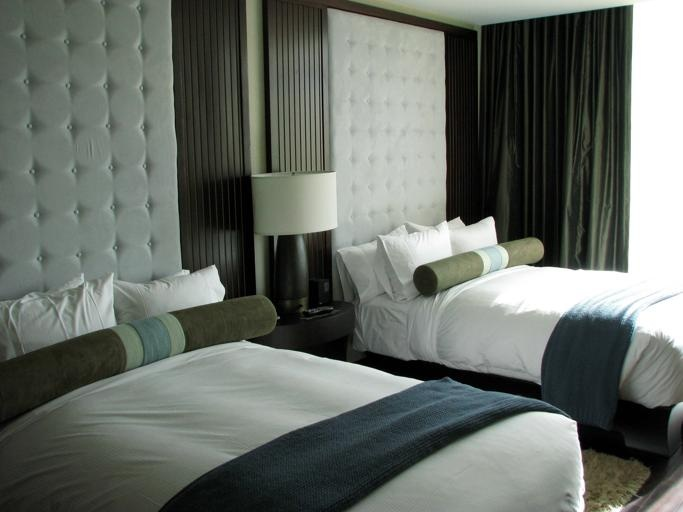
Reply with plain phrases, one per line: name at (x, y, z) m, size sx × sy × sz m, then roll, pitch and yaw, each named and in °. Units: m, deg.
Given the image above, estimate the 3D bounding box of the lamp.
lamp at (-0.355, -0.108, 3.978) m, size 0.550 × 0.995 × 0.550 m, roll 7°, pitch 10°, yaw 38°

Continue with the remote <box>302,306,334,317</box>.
remote at (-0.162, 0.342, 3.943) m, size 0.074 × 0.061 × 0.232 m, roll 9°, pitch 14°, yaw 43°
